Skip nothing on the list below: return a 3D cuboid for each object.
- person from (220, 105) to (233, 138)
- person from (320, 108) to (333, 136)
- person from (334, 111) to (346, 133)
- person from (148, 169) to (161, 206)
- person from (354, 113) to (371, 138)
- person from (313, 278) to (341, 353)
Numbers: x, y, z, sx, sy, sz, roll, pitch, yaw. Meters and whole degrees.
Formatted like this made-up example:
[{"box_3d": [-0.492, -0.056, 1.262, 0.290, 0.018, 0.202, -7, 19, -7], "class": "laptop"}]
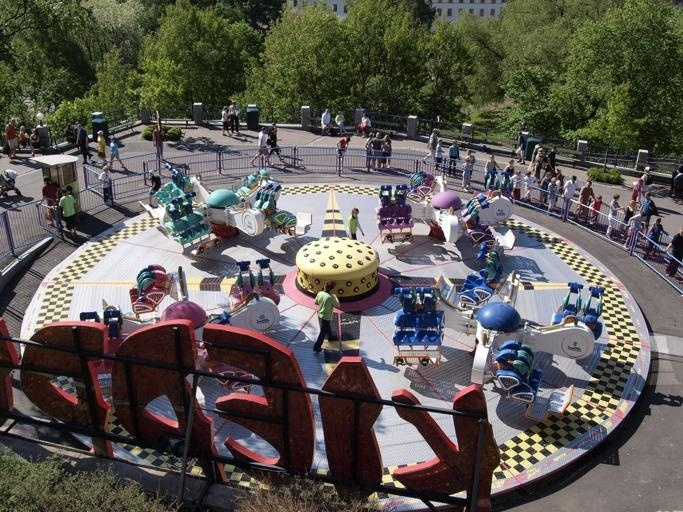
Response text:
[{"box_3d": [-7.476, -8.940, 36.836, 0.580, 1.698, 1.679, -1, 24, -11], "class": "person"}, {"box_3d": [-0.959, -8.897, 37.131, 0.668, 1.597, 2.045, 3, 24, -2], "class": "person"}, {"box_3d": [-0.082, -8.810, 37.133, 0.622, 1.383, 1.498, 3, 24, -1], "class": "person"}, {"box_3d": [-8.427, -3.036, 25.393, 0.402, 2.171, 1.225, 6, 29, -12], "class": "person"}, {"box_3d": [1.537, -8.464, 36.796, 0.654, 1.136, 0.982, -8, 26, -25], "class": "person"}, {"box_3d": [-0.464, 1.625, 17.492, 0.682, 2.568, 1.557, 3, 23, -1], "class": "person"}]
